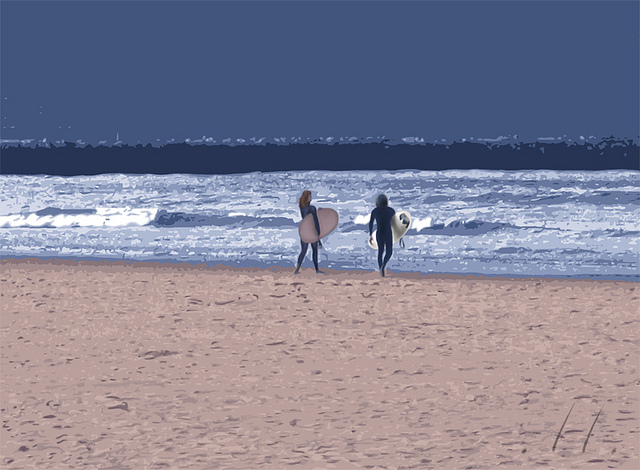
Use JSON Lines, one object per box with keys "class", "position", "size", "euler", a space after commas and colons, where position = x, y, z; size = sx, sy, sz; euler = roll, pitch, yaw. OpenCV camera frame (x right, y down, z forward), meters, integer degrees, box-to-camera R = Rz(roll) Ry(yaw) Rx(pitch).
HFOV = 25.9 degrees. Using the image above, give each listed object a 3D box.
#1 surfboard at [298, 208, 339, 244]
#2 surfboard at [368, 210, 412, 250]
{"class": "surfboard", "position": [-0.090, -0.376, 34.313], "size": [0.795, 0.219, 1.171], "euler": [-14, 23, -31]}
{"class": "surfboard", "position": [1.852, -0.128, 34.716], "size": [0.194, 1.145, 0.718], "euler": [32, 19, -54]}
